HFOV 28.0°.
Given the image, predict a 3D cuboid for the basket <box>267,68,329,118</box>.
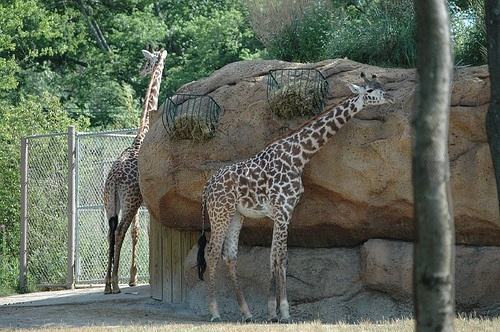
[{"bbox_3d":[1.091,-1.660,23.672,1.227,0.805,1.235,1,-3,0],"label":"basket"}]
